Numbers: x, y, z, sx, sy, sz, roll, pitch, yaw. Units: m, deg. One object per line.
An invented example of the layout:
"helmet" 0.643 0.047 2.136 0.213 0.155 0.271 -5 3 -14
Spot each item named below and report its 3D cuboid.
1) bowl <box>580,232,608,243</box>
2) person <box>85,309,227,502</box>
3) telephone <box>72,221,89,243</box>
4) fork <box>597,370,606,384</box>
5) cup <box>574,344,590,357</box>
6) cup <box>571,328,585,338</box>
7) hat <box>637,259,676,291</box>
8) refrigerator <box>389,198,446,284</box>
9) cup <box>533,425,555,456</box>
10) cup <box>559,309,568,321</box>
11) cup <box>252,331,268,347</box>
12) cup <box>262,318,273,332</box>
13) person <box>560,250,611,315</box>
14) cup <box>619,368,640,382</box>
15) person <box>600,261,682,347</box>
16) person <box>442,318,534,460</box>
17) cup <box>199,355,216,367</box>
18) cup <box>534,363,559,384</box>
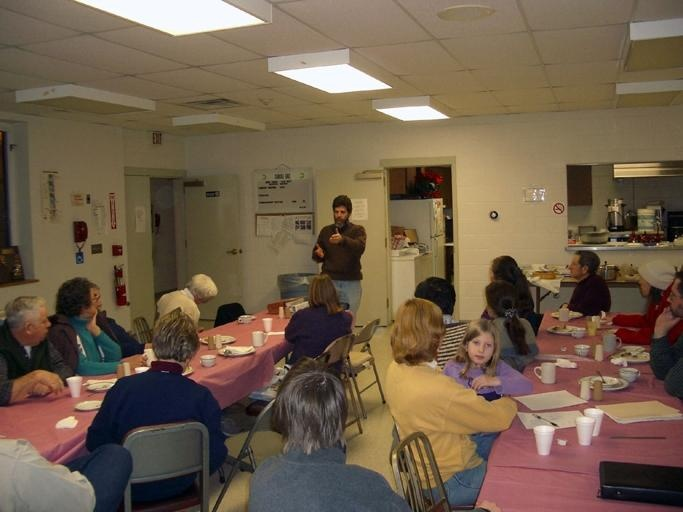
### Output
"bowl" 3.987 -0.286 8.082 0.360 0.131 0.375 -3 1 0
"person" -0.965 0.821 2.720 0.710 0.964 0.327 -5 6 -27
"telephone" -3.450 -0.318 6.784 0.120 0.282 0.304 2 1 16
"fork" 1.582 0.733 3.107 0.026 0.086 0.087 -2 6 -3
"cup" 1.719 0.671 3.678 0.089 0.056 0.092 1 -5 0
"cup" 1.911 0.619 4.138 0.082 0.051 0.080 0 -6 0
"hat" 2.670 0.150 4.415 0.220 0.234 0.296 -12 15 -43
"refrigerator" 1.415 -0.306 9.653 0.830 1.521 1.484 -1 5 20
"cup" 0.883 0.800 2.279 0.121 0.120 0.121 -1 -1 0
"cup" 2.032 0.536 4.693 0.099 0.106 0.095 1 -5 0
"cup" -0.684 0.696 4.343 0.086 0.095 0.132 -2 -6 4
"cup" -0.674 0.639 4.756 0.115 0.121 0.113 -1 -3 0
"person" 2.639 0.292 5.414 0.574 0.894 0.849 2 0 21
"cup" 1.749 0.726 3.135 0.083 0.048 0.100 -1 -7 2
"person" 2.540 0.413 4.249 0.619 0.692 0.895 10 9 30
"person" 0.774 0.780 2.903 0.450 0.748 0.429 2 -4 -13
"cup" -0.963 0.751 3.680 0.084 0.050 0.084 0 -9 0
"cup" 1.253 0.721 3.183 0.167 0.137 0.103 -3 -2 27
